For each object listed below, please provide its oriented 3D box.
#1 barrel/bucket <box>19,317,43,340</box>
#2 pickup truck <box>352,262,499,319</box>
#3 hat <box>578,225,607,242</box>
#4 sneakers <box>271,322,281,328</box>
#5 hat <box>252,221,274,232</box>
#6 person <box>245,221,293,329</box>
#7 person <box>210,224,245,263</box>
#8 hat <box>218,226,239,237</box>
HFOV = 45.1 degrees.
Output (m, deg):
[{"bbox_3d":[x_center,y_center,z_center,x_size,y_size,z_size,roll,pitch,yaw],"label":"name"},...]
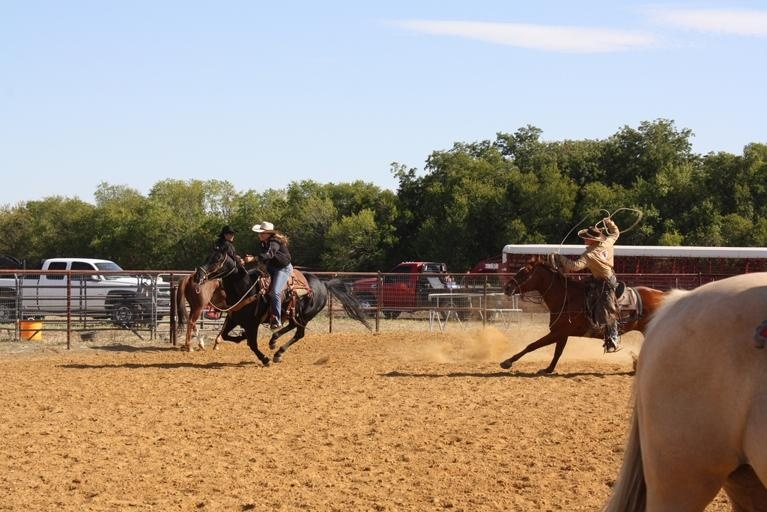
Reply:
[{"bbox_3d":[-8.739,1.799,22.819,0.580,0.464,0.547,-1,-4,0],"label":"barrel/bucket"},{"bbox_3d":[1.154,0.850,25.739,3.856,1.546,1.576,1,-4,5],"label":"pickup truck"},{"bbox_3d":[4.209,-0.433,18.392,0.533,0.345,0.782,3,9,14],"label":"hat"},{"bbox_3d":[-2.208,1.412,18.918,0.142,0.115,0.146,0,-5,2],"label":"sneakers"},{"bbox_3d":[-2.450,-0.593,18.775,0.399,0.180,0.462,-2,-2,34],"label":"hat"},{"bbox_3d":[-2.272,0.459,18.966,0.742,2.308,1.077,0,9,-3],"label":"person"},{"bbox_3d":[-3.209,-0.312,19.225,0.551,0.845,1.639,-1,9,-9],"label":"person"},{"bbox_3d":[-3.169,-0.500,18.707,0.323,0.161,0.399,-1,0,-9],"label":"hat"}]
